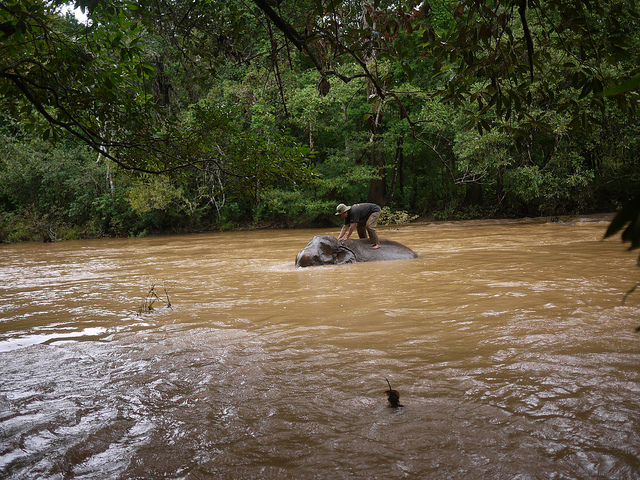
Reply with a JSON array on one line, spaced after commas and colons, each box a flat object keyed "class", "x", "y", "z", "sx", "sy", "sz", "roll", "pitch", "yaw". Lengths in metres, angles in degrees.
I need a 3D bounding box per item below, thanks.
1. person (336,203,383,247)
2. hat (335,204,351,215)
[{"class": "person", "x": 1.050, "y": -0.415, "z": 13.909, "sx": 1.234, "sy": 1.400, "sz": 0.892, "roll": -13, "pitch": 16, "yaw": -19}, {"class": "hat", "x": 0.575, "y": -0.793, "z": 13.609, "sx": 0.321, "sy": 0.115, "sz": 0.310, "roll": -46, "pitch": 20, "yaw": -28}]
